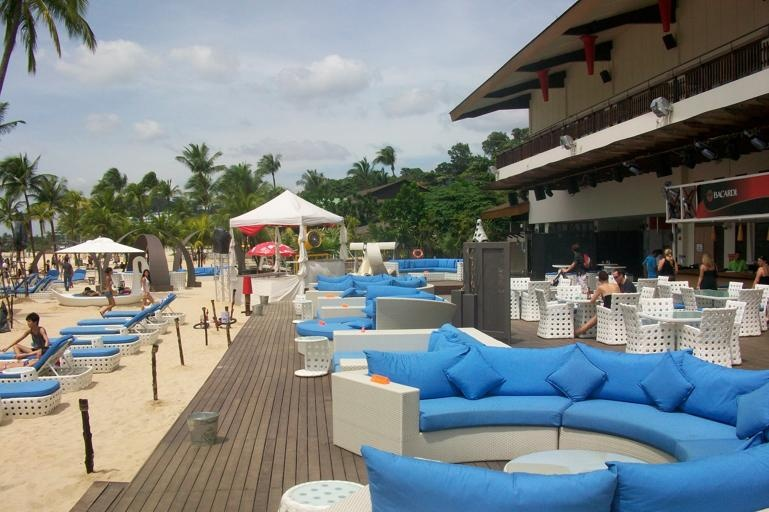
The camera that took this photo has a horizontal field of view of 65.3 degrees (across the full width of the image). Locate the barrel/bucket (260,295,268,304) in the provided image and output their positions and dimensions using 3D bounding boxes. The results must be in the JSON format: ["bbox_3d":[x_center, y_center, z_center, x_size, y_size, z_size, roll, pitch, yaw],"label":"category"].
[{"bbox_3d":[-4.165,1.514,20.895,0.278,0.303,0.273,1,6,0],"label":"barrel/bucket"}]

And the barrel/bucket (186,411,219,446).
[{"bbox_3d":[-2.665,2.510,8.903,0.456,0.398,0.484,-2,7,0],"label":"barrel/bucket"}]

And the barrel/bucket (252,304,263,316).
[{"bbox_3d":[-4.026,1.724,19.112,0.248,0.343,0.447,0,-3,-1],"label":"barrel/bucket"}]

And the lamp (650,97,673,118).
[{"bbox_3d":[7.506,-4.069,16.395,0.528,0.523,0.436,-1,0,41],"label":"lamp"}]

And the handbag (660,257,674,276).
[{"bbox_3d":[7.562,0.295,16.145,0.444,0.623,0.341,2,3,22],"label":"handbag"}]

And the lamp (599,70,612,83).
[{"bbox_3d":[8.669,-7.085,23.689,0.212,0.516,0.594,-1,0,-10],"label":"lamp"}]

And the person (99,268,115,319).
[{"bbox_3d":[-9.820,1.338,21.356,0.551,1.831,0.517,-6,5,-40],"label":"person"}]

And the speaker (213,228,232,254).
[{"bbox_3d":[-5.850,-0.574,21.717,0.592,0.939,0.930,-1,0,-15],"label":"speaker"}]

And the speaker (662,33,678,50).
[{"bbox_3d":[9.435,-7.168,20.051,0.284,0.566,0.539,-1,0,-8],"label":"speaker"}]

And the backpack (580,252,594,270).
[{"bbox_3d":[7.173,0.194,21.328,0.320,0.634,0.434,-8,41,6],"label":"backpack"}]

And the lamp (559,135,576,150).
[{"bbox_3d":[6.362,-3.953,20.943,0.343,0.464,0.585,3,-2,22],"label":"lamp"}]
